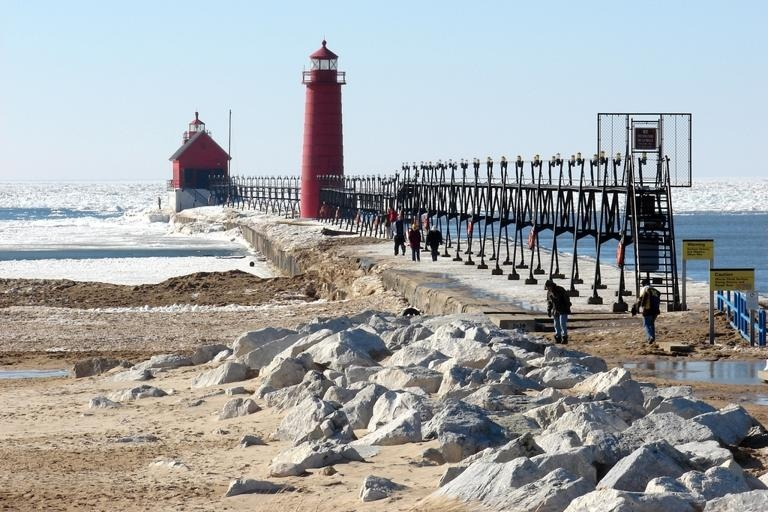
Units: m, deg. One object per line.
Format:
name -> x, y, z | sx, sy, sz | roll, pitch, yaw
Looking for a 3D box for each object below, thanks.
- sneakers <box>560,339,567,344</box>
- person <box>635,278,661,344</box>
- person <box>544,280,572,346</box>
sneakers -> 3.600, 1.693, 21.934 | 0.153, 0.140, 0.081 | -1, -4, 1
person -> 5.174, 1.116, 21.470 | 0.406, 1.104, 1.050 | -5, 11, 12
person -> 3.599, 1.109, 22.566 | 0.461, 1.254, 1.816 | -6, 11, 8
